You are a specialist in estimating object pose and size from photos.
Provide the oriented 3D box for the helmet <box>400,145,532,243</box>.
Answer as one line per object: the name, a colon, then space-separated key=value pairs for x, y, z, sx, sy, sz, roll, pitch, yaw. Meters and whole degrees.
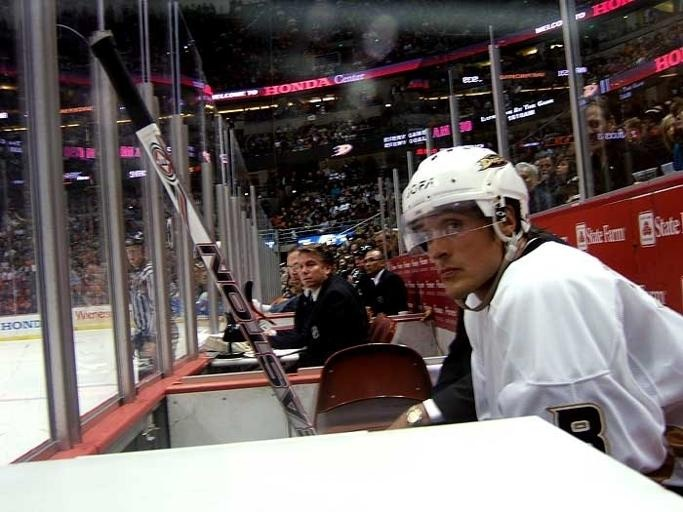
helmet: x=0.347 y=-0.171 z=1.978 sx=0.383 sy=0.264 sz=0.431 roll=2 pitch=10 yaw=37

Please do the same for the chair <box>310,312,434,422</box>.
chair: x=0.145 y=0.561 z=2.831 sx=0.499 sy=0.444 sz=0.420 roll=-2 pitch=-8 yaw=-2
